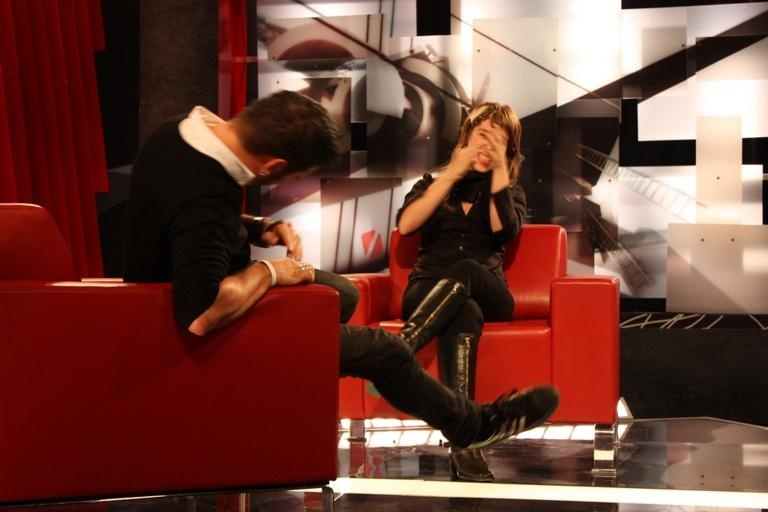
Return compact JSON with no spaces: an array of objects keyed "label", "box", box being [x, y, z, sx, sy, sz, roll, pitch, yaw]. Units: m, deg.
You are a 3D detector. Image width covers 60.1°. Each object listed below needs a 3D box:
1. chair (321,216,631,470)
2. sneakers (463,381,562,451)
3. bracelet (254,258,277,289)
[{"label":"chair","box":[0.457,0.386,3.329,1.387,1.033,0.743,-1,1,16]},{"label":"sneakers","box":[0.474,0.577,2.453,0.466,0.149,0.179,-19,-17,13]},{"label":"bracelet","box":[-0.383,0.056,2.106,0.032,0.067,0.077,-12,23,-9]}]
